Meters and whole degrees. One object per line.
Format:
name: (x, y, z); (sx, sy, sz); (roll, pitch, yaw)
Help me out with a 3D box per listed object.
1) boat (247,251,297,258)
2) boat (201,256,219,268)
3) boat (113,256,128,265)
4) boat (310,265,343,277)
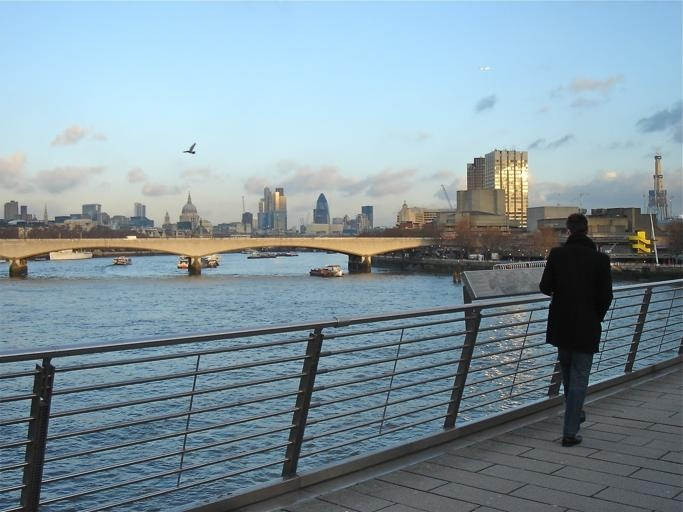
boat: (-21.338, -0.576, 242.736); (1.997, 2.038, 16.461); (-4, -2, 17)
boat: (-20.870, 0.890, 127.284); (2.655, 1.097, 3.779); (-1, -2, 0)
boat: (-36.102, 0.883, 130.740); (2.440, 1.010, 2.994); (1, 4, 4)
boat: (-1.176, 1.841, 90.962); (3.054, 0.800, 1.406); (-4, 6, -24)
